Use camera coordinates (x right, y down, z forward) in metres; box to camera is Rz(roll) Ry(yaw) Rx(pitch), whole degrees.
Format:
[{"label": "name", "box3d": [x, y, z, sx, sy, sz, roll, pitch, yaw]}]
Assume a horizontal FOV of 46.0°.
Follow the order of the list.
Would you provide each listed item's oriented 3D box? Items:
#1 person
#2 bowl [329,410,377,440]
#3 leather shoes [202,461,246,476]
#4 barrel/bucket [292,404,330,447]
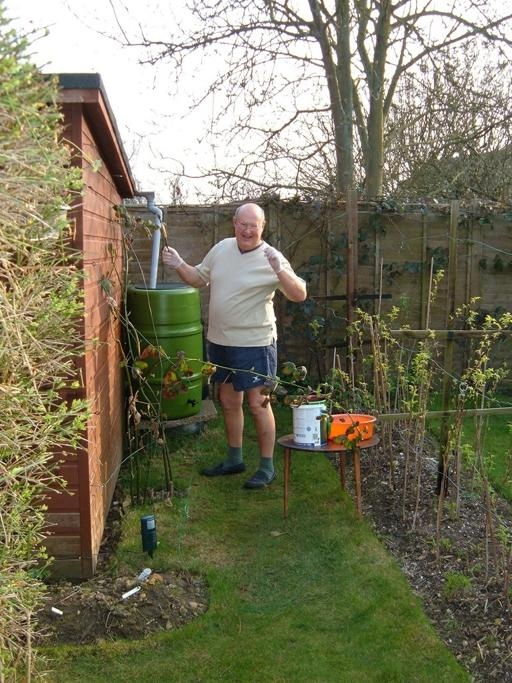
[{"label": "person", "box3d": [-0.089, 0.051, 3.773, 0.595, 1.777, 0.895, -5, 11, -41]}, {"label": "bowl", "box3d": [0.520, 0.454, 3.273, 0.237, 0.136, 0.497, 4, 8, 10]}, {"label": "leather shoes", "box3d": [-0.223, 0.866, 4.112, 0.290, 0.102, 0.100, 1, 0, -10]}, {"label": "barrel/bucket", "box3d": [0.265, 0.425, 3.135, 0.229, 0.216, 0.215, -1, 2, 0]}]
